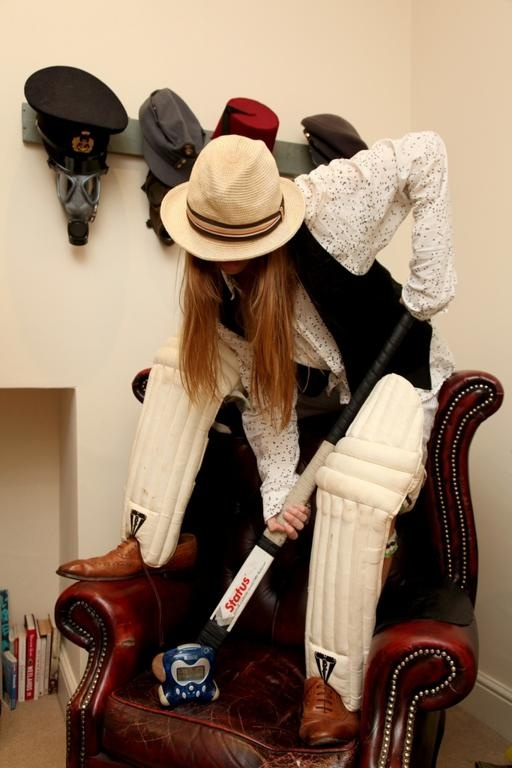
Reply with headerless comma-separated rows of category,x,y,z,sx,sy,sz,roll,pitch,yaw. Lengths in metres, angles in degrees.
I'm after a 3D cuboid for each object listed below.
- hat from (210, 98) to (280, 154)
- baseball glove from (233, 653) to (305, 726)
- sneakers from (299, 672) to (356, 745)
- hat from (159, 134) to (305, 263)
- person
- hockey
hat,-0.027,-0.869,2.139,0.167,0.162,0.102,2,33,-21
baseball glove,0.036,0.674,1.428,0.155,0.089,0.279,-6,4,2
sneakers,0.137,0.612,1.283,0.090,0.083,0.233,1,-10,7
hat,-0.055,-0.362,1.322,0.302,0.223,0.277,2,14,6
person,0.037,-0.049,1.521,0.682,0.975,0.447,-4,15,-15
hockey,0.060,0.251,1.478,0.161,0.913,0.105,19,-24,30
